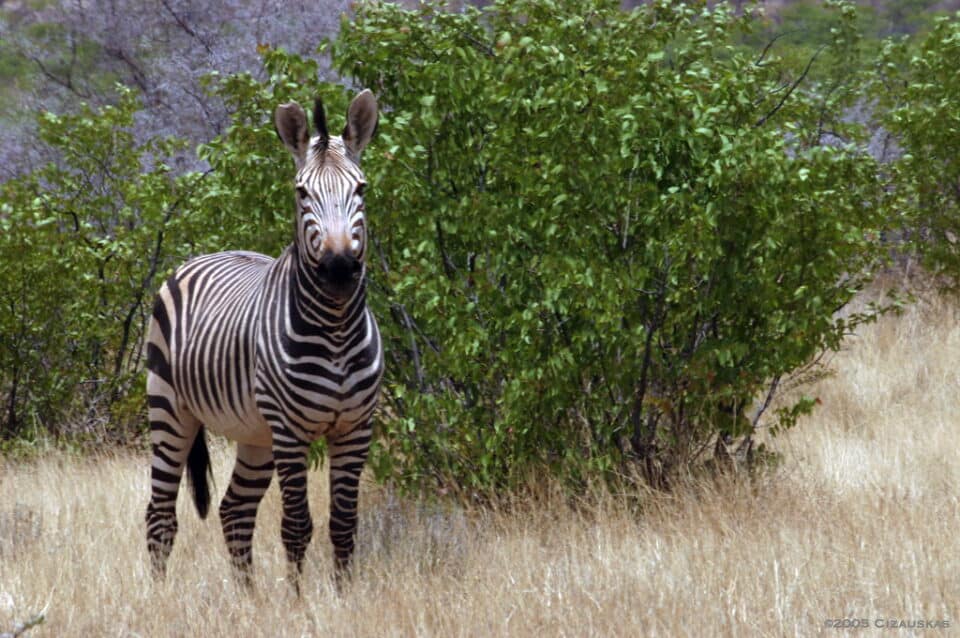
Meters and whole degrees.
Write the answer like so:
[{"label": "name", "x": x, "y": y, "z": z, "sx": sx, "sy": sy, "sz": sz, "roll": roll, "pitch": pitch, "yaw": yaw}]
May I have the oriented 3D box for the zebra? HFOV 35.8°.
[{"label": "zebra", "x": -2.558, "y": 0.642, "z": 18.341, "sx": 1.930, "sy": 5.694, "sz": 5.867, "roll": -3, "pitch": 1, "yaw": -32}]
